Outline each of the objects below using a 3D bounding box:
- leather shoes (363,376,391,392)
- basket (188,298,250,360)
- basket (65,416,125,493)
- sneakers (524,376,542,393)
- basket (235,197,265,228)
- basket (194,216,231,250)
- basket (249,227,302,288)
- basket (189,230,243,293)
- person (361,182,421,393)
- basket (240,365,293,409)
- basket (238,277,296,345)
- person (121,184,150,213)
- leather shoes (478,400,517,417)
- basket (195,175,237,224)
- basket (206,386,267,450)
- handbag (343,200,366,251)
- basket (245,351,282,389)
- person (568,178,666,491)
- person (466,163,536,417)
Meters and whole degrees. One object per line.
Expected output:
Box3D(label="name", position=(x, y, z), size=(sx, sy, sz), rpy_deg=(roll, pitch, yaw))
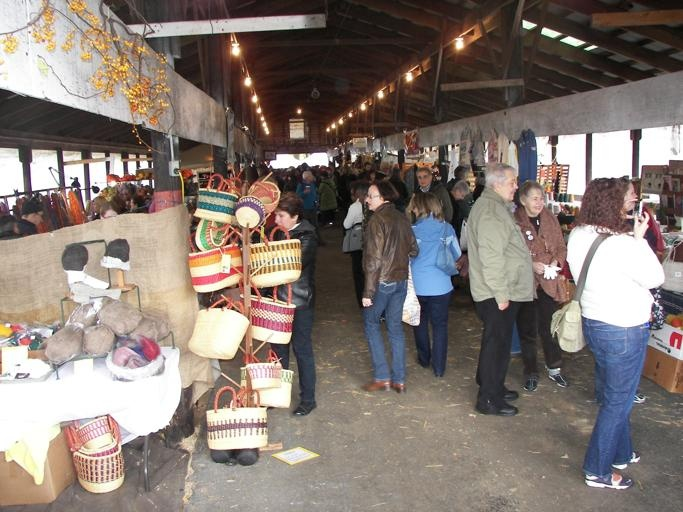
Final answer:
Box3D(label="leather shoes", position=(0.327, 1.163, 4.815), size=(0.275, 0.142, 0.101), rpy_deg=(0, 1, 4))
Box3D(label="basket", position=(-0.848, 0.508, 3.702), size=(0.378, 0.427, 0.236), rpy_deg=(-4, -31, 29))
Box3D(label="basket", position=(-1.638, 1.290, 3.398), size=(0.328, 0.372, 0.275), rpy_deg=(8, -15, -32))
Box3D(label="sneakers", position=(1.676, 1.133, 4.680), size=(0.073, 0.076, 0.168), rpy_deg=(3, 9, 14))
Box3D(label="basket", position=(-0.637, -0.304, 3.715), size=(0.211, 0.224, 0.149), rpy_deg=(-3, 11, -11))
Box3D(label="basket", position=(-0.916, -0.148, 3.746), size=(0.091, 0.170, 0.269), rpy_deg=(9, -28, 14))
Box3D(label="basket", position=(-0.492, 0.013, 3.783), size=(0.372, 0.412, 0.309), rpy_deg=(-2, -4, -22))
Box3D(label="basket", position=(-0.886, 0.071, 3.809), size=(0.396, 0.339, 0.242), rpy_deg=(-15, 19, -36))
Box3D(label="person", position=(0.392, 0.292, 4.627), size=(0.391, 1.835, 0.554), rpy_deg=(1, 11, 14))
Box3D(label="basket", position=(-0.514, 1.032, 4.090), size=(0.301, 0.272, 0.348), rpy_deg=(0, -23, -1))
Box3D(label="basket", position=(-0.528, 0.430, 3.893), size=(0.339, 0.337, 0.355), rpy_deg=(3, 2, 33))
Box3D(label="person", position=(-2.609, -0.748, 6.765), size=(0.330, 0.330, 1.524), rpy_deg=(-5, 13, -19))
Box3D(label="leather shoes", position=(1.245, 1.235, 4.285), size=(0.309, 0.149, 0.124), rpy_deg=(-4, 9, 8))
Box3D(label="basket", position=(-0.897, -0.411, 3.822), size=(0.306, 0.353, 0.253), rpy_deg=(-3, 11, -10))
Box3D(label="basket", position=(-0.705, 1.154, 3.912), size=(0.497, 0.521, 0.361), rpy_deg=(-2, -3, 1))
Box3D(label="handbag", position=(0.177, -0.330, 6.392), size=(0.271, 0.595, 0.462), rpy_deg=(6, 4, 9))
Box3D(label="basket", position=(-0.566, 0.833, 3.872), size=(0.213, 0.250, 0.249), rpy_deg=(-8, -23, 17))
Box3D(label="person", position=(1.727, 0.490, 3.410), size=(0.472, 1.947, 0.423), rpy_deg=(-1, 10, 0))
Box3D(label="person", position=(1.287, 0.270, 4.285), size=(0.479, 1.980, 0.440), rpy_deg=(-2, 10, -8))
